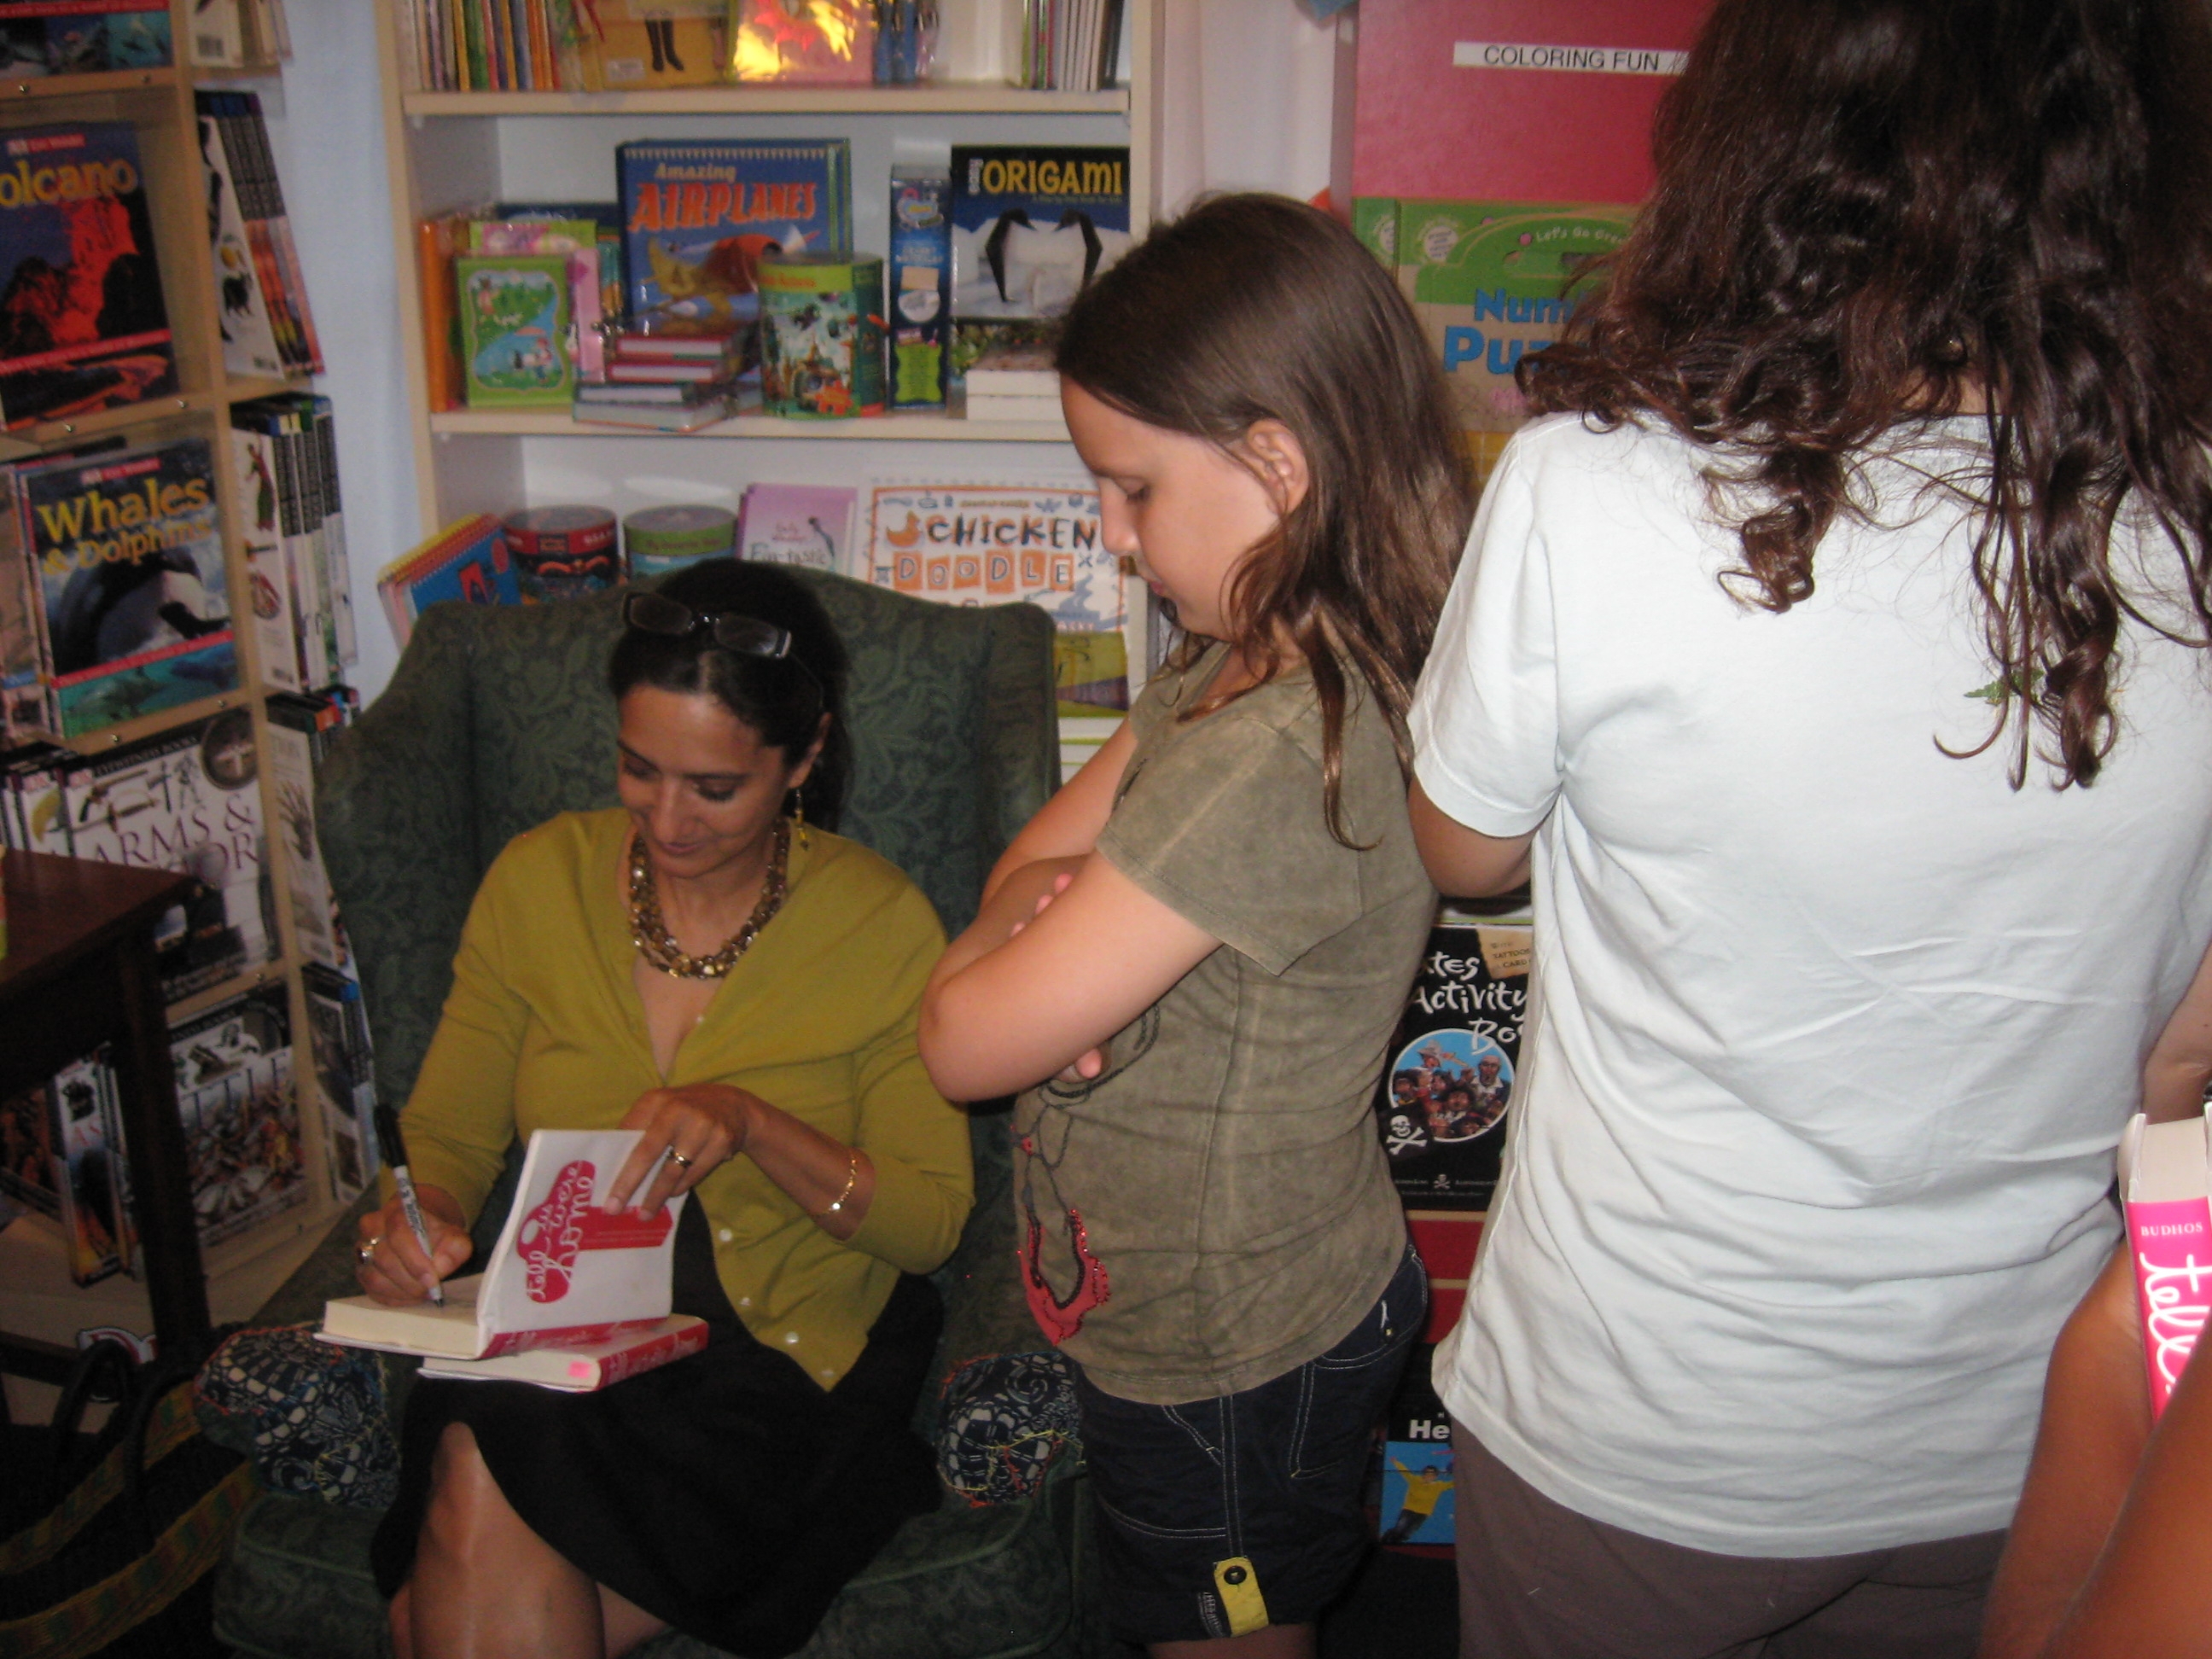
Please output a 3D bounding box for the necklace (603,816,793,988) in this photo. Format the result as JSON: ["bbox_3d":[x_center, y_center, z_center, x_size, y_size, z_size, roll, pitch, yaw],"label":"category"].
[{"bbox_3d":[-0.490,0.082,2.111,0.139,0.196,0.059,1,-1,0],"label":"necklace"}]

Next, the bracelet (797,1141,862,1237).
[{"bbox_3d":[-0.308,0.391,1.972,0.077,0.085,0.064,-8,8,-17],"label":"bracelet"}]

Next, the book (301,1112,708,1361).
[{"bbox_3d":[-0.624,0.440,1.823,0.237,0.290,0.335,9,-4,-24],"label":"book"}]

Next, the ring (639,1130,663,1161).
[{"bbox_3d":[-0.480,0.332,1.864,0.007,0.017,0.023,-33,-4,42],"label":"ring"}]

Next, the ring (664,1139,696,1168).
[{"bbox_3d":[-0.457,0.344,1.888,0.026,0.027,0.007,0,-5,7],"label":"ring"}]
